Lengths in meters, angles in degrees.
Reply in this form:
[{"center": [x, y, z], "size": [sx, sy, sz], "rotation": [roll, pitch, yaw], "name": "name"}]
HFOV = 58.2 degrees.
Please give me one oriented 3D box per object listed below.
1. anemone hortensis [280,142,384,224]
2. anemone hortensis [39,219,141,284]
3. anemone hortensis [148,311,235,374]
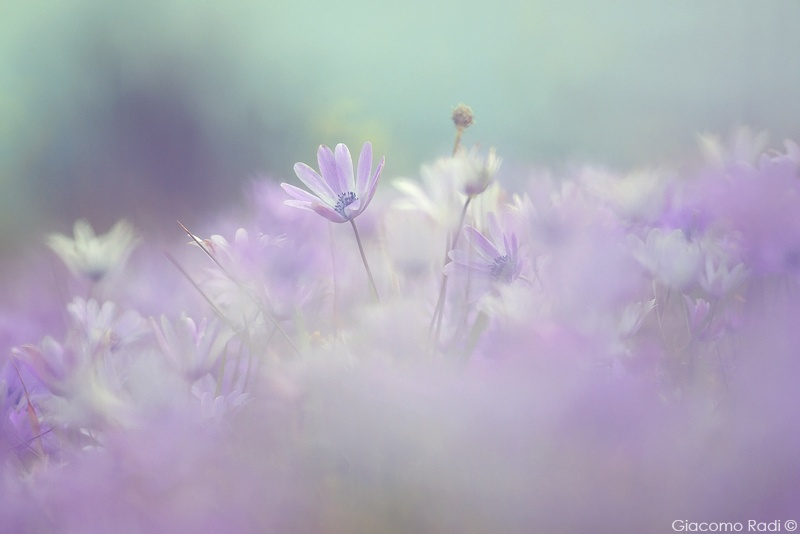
[{"center": [-0.039, -0.067, 0.513], "size": [0.064, 0.038, 0.070], "rotation": [-4, 19, 3], "name": "anemone hortensis"}, {"center": [-0.232, -0.018, 0.554], "size": [0.036, 0.043, 0.065], "rotation": [13, 30, 41], "name": "anemone hortensis"}, {"center": [-0.141, 0.053, 0.490], "size": [0.043, 0.030, 0.044], "rotation": [3, -6, 9], "name": "anemone hortensis"}]
